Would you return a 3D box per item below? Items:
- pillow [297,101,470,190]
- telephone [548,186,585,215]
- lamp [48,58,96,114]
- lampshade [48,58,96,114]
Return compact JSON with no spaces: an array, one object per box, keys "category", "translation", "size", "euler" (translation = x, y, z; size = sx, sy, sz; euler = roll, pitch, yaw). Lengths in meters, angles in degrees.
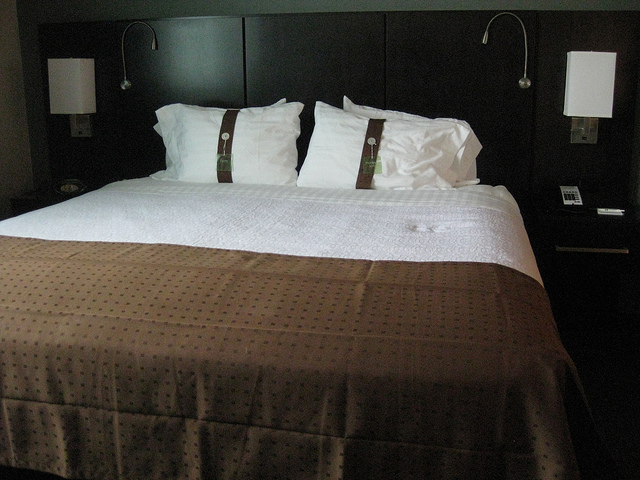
[{"category":"pillow","translation":[0.301,-0.501,2.639],"size":[0.607,0.598,0.190],"euler":[11,-2,11]},{"category":"telephone","translation":[1.497,-0.247,2.985],"size":[0.133,0.058,0.245],"euler":[-3,34,9]},{"category":"lamp","translation":[-1.676,-1.038,3.322],"size":[0.298,0.471,0.233],"euler":[2,13,-3]},{"category":"lampshade","translation":[-1.676,-1.039,3.323],"size":[0.297,0.468,0.231],"euler":[2,14,-3]}]
